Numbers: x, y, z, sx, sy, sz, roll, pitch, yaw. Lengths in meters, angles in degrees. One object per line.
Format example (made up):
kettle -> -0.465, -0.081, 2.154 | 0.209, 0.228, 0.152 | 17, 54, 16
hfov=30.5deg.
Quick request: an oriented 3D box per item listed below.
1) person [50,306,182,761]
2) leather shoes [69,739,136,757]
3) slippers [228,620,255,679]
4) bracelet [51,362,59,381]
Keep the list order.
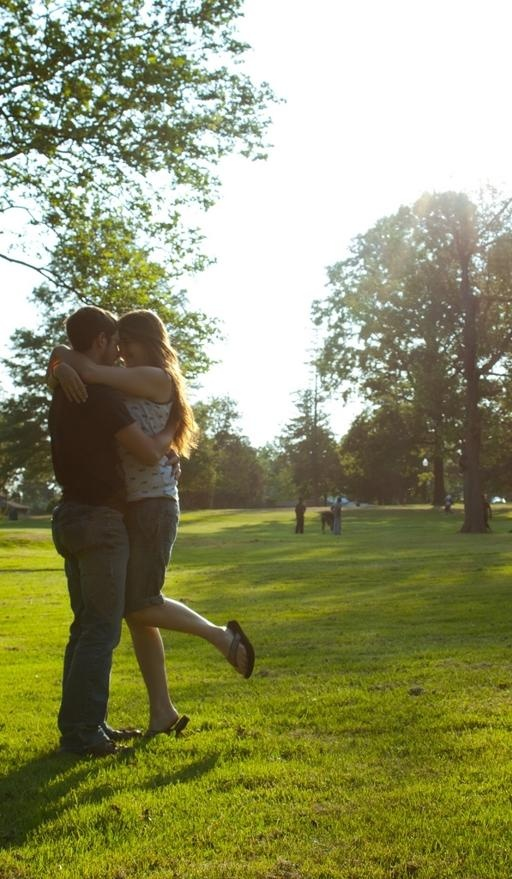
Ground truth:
person -> -0.790, 0.401, 4.643 | 0.714, 1.920, 0.417 | -10, -3, -15
leather shoes -> -0.723, 1.437, 4.442 | 0.298, 0.120, 0.100 | 0, -4, -3
slippers -> -0.044, 1.032, 4.700 | 0.080, 0.291, 0.126 | -7, -21, -39
bracelet -> -0.995, -0.340, 4.655 | 0.032, 0.085, 0.063 | 6, -2, -16
